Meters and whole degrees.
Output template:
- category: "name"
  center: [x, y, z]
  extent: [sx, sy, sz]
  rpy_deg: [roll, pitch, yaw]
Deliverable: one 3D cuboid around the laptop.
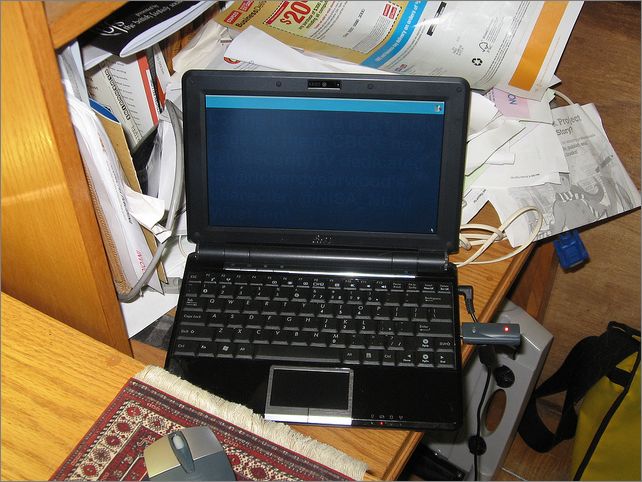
- category: "laptop"
  center: [0.002, 0.068, 0.914]
  extent: [0.593, 0.401, 0.491]
  rpy_deg: [3, 60, 0]
